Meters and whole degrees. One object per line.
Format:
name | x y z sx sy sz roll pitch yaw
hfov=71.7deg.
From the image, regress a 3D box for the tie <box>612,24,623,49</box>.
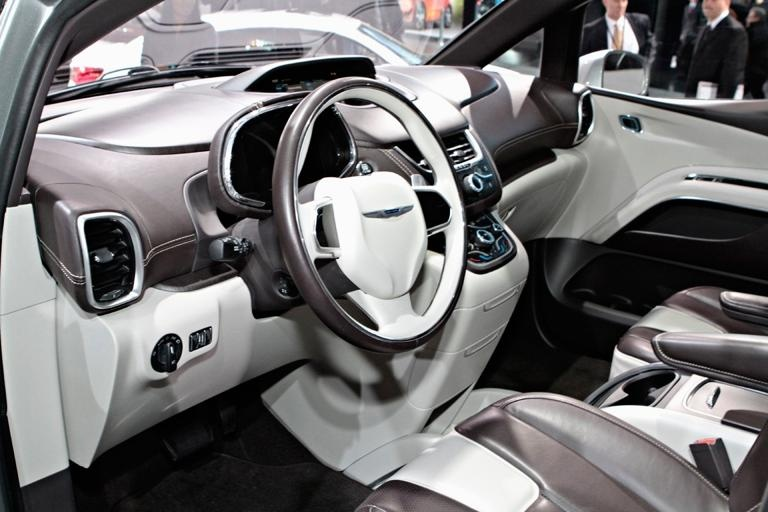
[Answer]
tie | 0.991 -0.926 2.256 0.019 0.077 0.054 -7 5 -8
